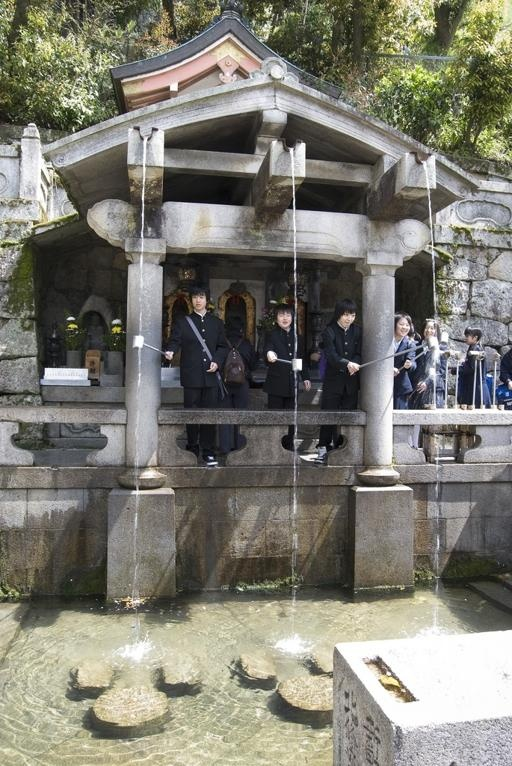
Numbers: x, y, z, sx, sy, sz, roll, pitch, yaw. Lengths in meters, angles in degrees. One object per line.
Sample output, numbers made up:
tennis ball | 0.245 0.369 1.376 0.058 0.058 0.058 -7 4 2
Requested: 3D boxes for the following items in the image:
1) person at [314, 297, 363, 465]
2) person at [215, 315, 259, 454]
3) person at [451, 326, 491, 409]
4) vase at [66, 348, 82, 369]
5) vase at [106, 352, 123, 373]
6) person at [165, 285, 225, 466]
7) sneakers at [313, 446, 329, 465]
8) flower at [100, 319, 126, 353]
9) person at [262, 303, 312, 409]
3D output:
person | 0.758 -0.006 8.135 0.416 1.474 0.731 0 11 6
person | -0.235 0.010 8.853 0.470 1.366 0.423 0 16 -3
person | 2.317 -0.117 9.405 0.358 0.925 1.535 2 12 14
vase | -2.404 -0.308 11.617 0.217 0.236 0.211 -1 3 -25
vase | -1.827 -0.260 11.358 0.209 0.251 0.287 -2 11 -5
person | -0.535 0.003 8.096 0.516 1.721 0.998 -1 11 -2
sneakers | 0.623 0.672 8.047 0.140 0.236 0.140 3 -4 -11
flower | -1.847 -0.612 11.548 0.240 0.409 0.396 -3 12 -12
person | 0.300 -0.232 8.524 0.415 1.044 1.107 0 11 1
